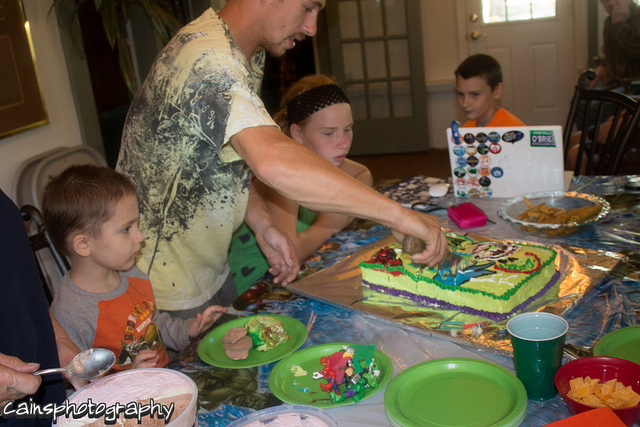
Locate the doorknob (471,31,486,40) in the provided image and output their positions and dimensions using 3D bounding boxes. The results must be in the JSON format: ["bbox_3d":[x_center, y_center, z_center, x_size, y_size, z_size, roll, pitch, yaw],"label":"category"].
[{"bbox_3d":[2.186,-2.471,6.727,0.191,0.112,0.065,-2,15,13],"label":"doorknob"}]

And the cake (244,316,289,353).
[{"bbox_3d":[-0.188,0.424,1.731,0.146,0.085,0.117,-10,14,-19],"label":"cake"}]

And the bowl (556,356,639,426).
[{"bbox_3d":[0.757,0.477,1.324,0.212,0.123,0.137,-2,14,15],"label":"bowl"}]

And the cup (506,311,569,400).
[{"bbox_3d":[0.629,0.417,1.408,0.185,0.208,0.181,-6,15,2],"label":"cup"}]

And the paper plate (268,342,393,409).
[{"bbox_3d":[0.031,0.509,1.545,0.386,0.088,0.245,-8,14,-10],"label":"paper plate"}]

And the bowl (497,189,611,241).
[{"bbox_3d":[1.041,0.034,2.326,0.470,0.130,0.474,9,12,-2],"label":"bowl"}]

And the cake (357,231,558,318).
[{"bbox_3d":[0.533,0.231,1.927,0.501,0.109,0.408,12,29,36],"label":"cake"}]
